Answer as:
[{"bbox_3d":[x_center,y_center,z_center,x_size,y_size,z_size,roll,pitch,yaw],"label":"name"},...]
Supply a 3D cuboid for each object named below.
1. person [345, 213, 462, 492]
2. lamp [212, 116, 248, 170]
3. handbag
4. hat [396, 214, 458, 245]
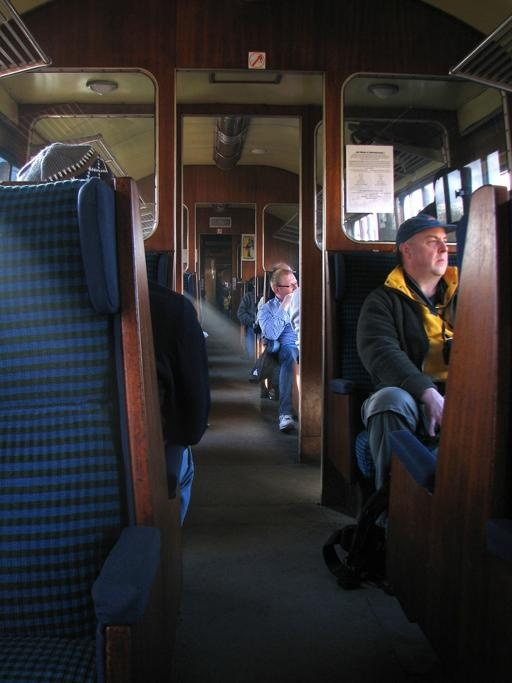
[{"bbox_3d":[0.785,0.101,2.623,0.522,1.452,0.753,5,-3,4],"label":"person"},{"bbox_3d":[-0.376,-2.831,7.248,0.377,0.272,1.066,-3,-8,-8],"label":"lamp"},{"bbox_3d":[0.496,0.798,2.212,0.269,0.265,0.259,-27,29,-30],"label":"handbag"},{"bbox_3d":[0.859,-0.538,2.785,0.235,0.137,0.173,-14,3,21],"label":"hat"}]
